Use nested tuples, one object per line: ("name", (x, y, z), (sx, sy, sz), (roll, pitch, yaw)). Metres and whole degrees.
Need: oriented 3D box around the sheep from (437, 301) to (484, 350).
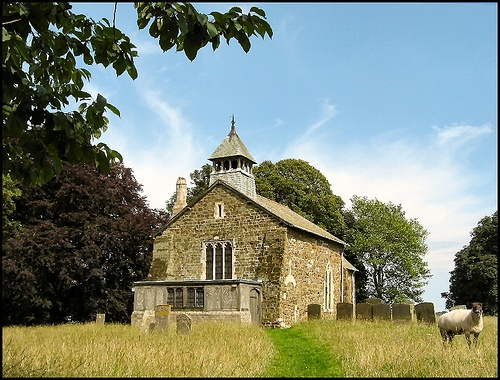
("sheep", (6.698, 4.361, 14.322), (0.662, 1.305, 1.997), (13, -21, -16))
